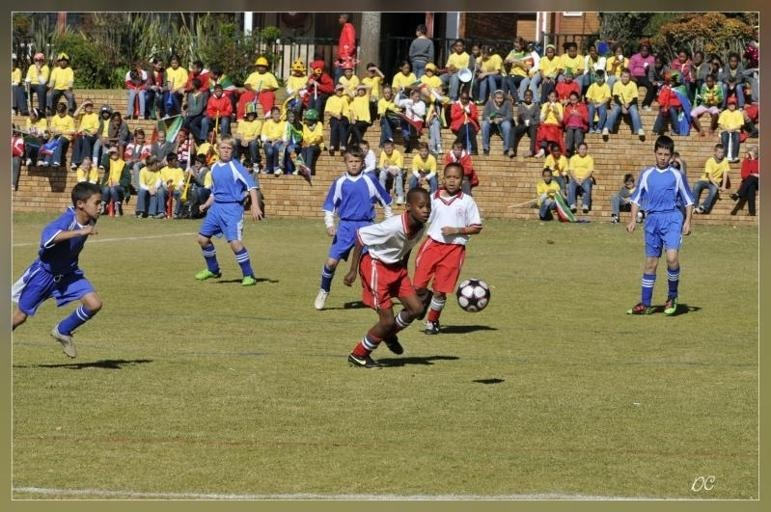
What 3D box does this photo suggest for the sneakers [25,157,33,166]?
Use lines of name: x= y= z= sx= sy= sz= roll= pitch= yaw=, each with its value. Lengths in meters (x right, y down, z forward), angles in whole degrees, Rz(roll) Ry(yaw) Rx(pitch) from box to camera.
sneakers: x=-8.774 y=-2.324 z=30.631 sx=0.199 sy=0.204 sz=0.118 roll=2 pitch=-2 yaw=-8

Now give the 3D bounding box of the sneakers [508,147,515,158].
sneakers: x=2.931 y=-2.405 z=28.769 sx=0.196 sy=0.268 sz=0.548 roll=-2 pitch=-3 yaw=5

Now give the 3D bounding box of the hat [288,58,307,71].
hat: x=-2.101 y=-4.679 z=30.447 sx=0.301 sy=0.212 sz=0.407 roll=1 pitch=4 yaw=-4

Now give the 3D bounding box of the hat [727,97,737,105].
hat: x=8.028 y=-3.576 z=28.628 sx=0.190 sy=0.224 sz=0.208 roll=7 pitch=27 yaw=0

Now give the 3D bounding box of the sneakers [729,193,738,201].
sneakers: x=7.713 y=-1.325 z=27.340 sx=0.170 sy=0.148 sz=0.106 roll=45 pitch=18 yaw=31

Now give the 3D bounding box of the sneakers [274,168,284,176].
sneakers: x=-2.484 y=-1.975 z=29.126 sx=0.145 sy=0.157 sz=0.370 roll=2 pitch=7 yaw=-3

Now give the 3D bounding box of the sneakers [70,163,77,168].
sneakers: x=-7.543 y=-2.207 z=30.111 sx=0.147 sy=0.073 sz=0.198 roll=-1 pitch=0 yaw=-9

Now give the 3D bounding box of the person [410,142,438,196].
person: x=0.856 y=-1.861 z=27.619 sx=0.804 sy=1.339 sz=0.984 roll=-3 pitch=17 yaw=-8

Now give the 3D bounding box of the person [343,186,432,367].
person: x=0.080 y=0.291 z=16.076 sx=1.006 sy=2.361 sz=0.464 roll=1 pitch=5 yaw=6

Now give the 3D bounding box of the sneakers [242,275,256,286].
sneakers: x=-2.260 y=0.401 z=20.678 sx=0.150 sy=0.134 sz=0.293 roll=0 pitch=-7 yaw=0

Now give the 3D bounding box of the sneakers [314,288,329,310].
sneakers: x=-0.944 y=0.678 z=19.259 sx=0.154 sy=0.446 sz=0.183 roll=10 pitch=-5 yaw=-35

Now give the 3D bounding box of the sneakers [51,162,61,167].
sneakers: x=-8.025 y=-2.257 z=30.301 sx=0.267 sy=0.135 sz=0.313 roll=-1 pitch=5 yaw=-15

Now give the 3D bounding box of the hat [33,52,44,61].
hat: x=-8.660 y=-4.991 z=31.071 sx=0.206 sy=0.146 sz=0.295 roll=0 pitch=12 yaw=-6

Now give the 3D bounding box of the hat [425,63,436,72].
hat: x=1.084 y=-4.454 z=29.340 sx=0.198 sy=0.262 sz=0.262 roll=-1 pitch=-29 yaw=7

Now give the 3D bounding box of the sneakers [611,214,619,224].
sneakers: x=5.102 y=-0.822 z=27.435 sx=0.175 sy=0.177 sz=0.144 roll=3 pitch=-1 yaw=6

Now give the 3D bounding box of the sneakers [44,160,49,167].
sneakers: x=-8.270 y=-2.264 z=30.341 sx=0.133 sy=0.122 sz=0.096 roll=4 pitch=4 yaw=14

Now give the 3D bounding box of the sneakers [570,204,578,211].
sneakers: x=4.221 y=-1.092 z=27.743 sx=0.152 sy=0.079 sz=0.208 roll=3 pitch=-4 yaw=2

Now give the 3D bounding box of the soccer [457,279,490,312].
soccer: x=1.289 y=0.556 z=17.904 sx=0.447 sy=0.460 sz=0.455 roll=0 pitch=-8 yaw=3

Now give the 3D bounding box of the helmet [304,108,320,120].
helmet: x=-1.706 y=-3.311 z=28.978 sx=0.302 sy=0.246 sz=0.387 roll=0 pitch=5 yaw=-4

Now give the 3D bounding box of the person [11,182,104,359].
person: x=-4.210 y=0.231 z=15.975 sx=1.094 sy=2.354 sz=1.470 roll=-1 pitch=5 yaw=-17

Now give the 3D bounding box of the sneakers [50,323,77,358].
sneakers: x=-4.290 y=1.131 z=16.571 sx=0.226 sy=0.470 sz=0.172 roll=-33 pitch=15 yaw=4

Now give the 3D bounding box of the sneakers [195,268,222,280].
sneakers: x=-3.007 y=0.307 z=21.115 sx=0.458 sy=0.242 sz=0.184 roll=5 pitch=43 yaw=-8

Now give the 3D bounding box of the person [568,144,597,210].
person: x=4.379 y=-1.734 z=27.721 sx=0.562 sy=1.580 sz=0.629 roll=1 pitch=5 yaw=7

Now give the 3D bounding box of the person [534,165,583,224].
person: x=4.087 y=-1.411 z=27.967 sx=1.010 sy=1.376 sz=1.125 roll=-5 pitch=12 yaw=-11

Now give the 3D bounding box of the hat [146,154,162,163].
hat: x=-5.246 y=-2.208 z=28.083 sx=0.191 sy=0.225 sz=0.237 roll=-1 pitch=7 yaw=-8

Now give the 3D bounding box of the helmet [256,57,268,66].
helmet: x=-2.995 y=-4.736 z=30.279 sx=0.380 sy=0.206 sz=0.453 roll=-2 pitch=11 yaw=-5

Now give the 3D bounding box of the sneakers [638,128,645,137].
sneakers: x=6.057 y=-2.919 z=29.268 sx=0.166 sy=0.125 sz=0.297 roll=1 pitch=12 yaw=9

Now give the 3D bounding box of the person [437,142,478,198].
person: x=1.622 y=-1.789 z=27.061 sx=0.773 sy=1.391 sz=0.941 roll=-5 pitch=13 yaw=13

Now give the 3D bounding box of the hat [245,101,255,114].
hat: x=-3.129 y=-3.469 z=28.952 sx=0.243 sy=0.239 sz=0.253 roll=0 pitch=1 yaw=-6

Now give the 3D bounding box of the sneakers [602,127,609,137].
sneakers: x=5.208 y=-2.922 z=29.144 sx=0.158 sy=0.164 sz=0.161 roll=0 pitch=-1 yaw=8

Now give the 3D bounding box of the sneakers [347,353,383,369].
sneakers: x=-0.269 y=1.398 z=16.510 sx=0.491 sy=0.213 sz=0.183 roll=6 pitch=10 yaw=-2

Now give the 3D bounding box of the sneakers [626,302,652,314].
sneakers: x=3.954 y=0.807 z=19.255 sx=0.433 sy=0.214 sz=0.158 roll=1 pitch=5 yaw=-6

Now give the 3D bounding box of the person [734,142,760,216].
person: x=7.927 y=-1.647 z=27.185 sx=0.510 sy=1.531 sz=1.616 roll=2 pitch=5 yaw=15

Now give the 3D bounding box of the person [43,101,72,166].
person: x=-7.912 y=-2.933 z=30.307 sx=0.714 sy=1.482 sz=0.470 roll=1 pitch=5 yaw=-2
